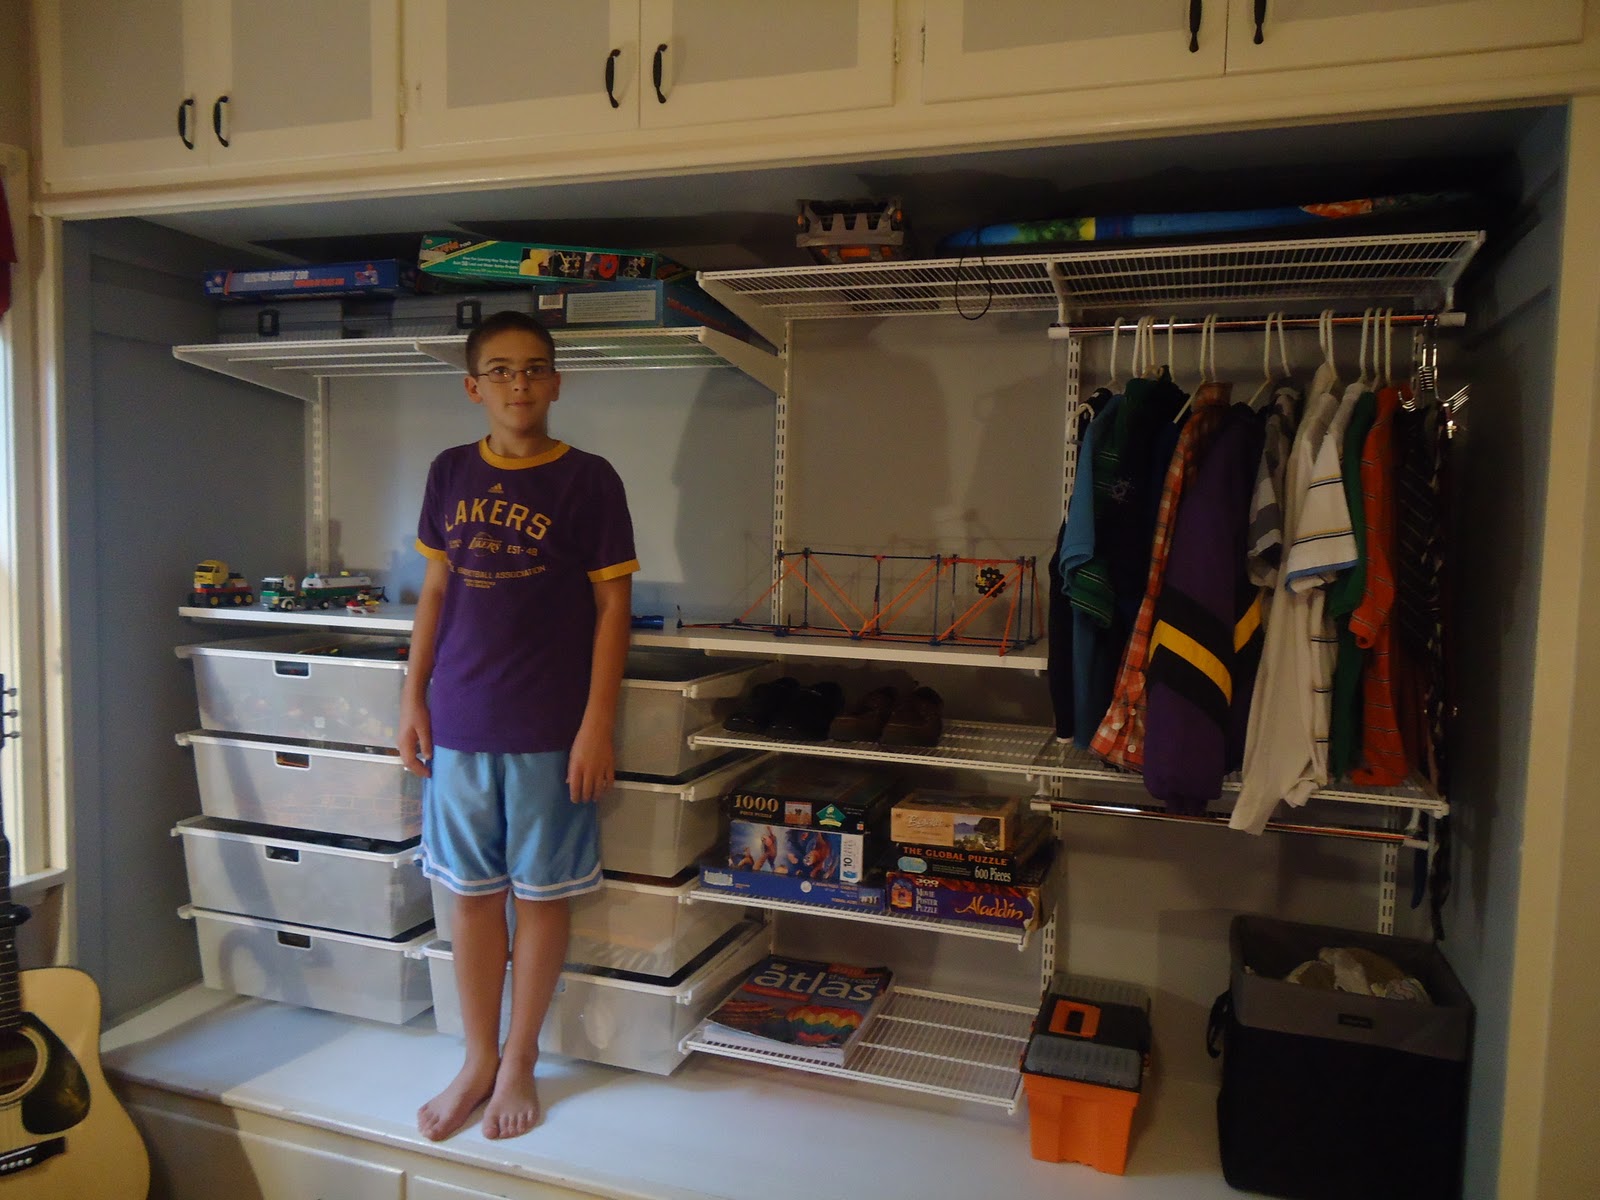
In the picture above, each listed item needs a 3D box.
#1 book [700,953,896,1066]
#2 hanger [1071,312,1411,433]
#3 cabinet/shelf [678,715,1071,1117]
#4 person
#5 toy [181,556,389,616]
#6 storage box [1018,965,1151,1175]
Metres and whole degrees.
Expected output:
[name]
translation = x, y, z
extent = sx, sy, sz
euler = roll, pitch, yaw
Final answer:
[book]
translation = -0.011, 0.985, 3.129
extent = 0.378, 0.083, 0.442
euler = 3, 8, 20
[hanger]
translation = 0.969, -0.503, 2.857
extent = 0.777, 0.224, 0.529
euler = 3, 8, 18
[cabinet/shelf]
translation = 0.213, 0.800, 3.286
extent = 1.086, 1.005, 0.781
euler = 1, 0, 23
[person]
translation = -0.646, 0.260, 2.883
extent = 0.548, 1.773, 0.378
euler = 0, 7, -2
[toy]
translation = -1.371, -0.043, 3.458
extent = 0.494, 0.127, 0.442
euler = -2, 8, -20
[storage box]
translation = 0.636, 1.068, 2.875
extent = 0.242, 0.257, 0.297
euler = 3, 8, 21
